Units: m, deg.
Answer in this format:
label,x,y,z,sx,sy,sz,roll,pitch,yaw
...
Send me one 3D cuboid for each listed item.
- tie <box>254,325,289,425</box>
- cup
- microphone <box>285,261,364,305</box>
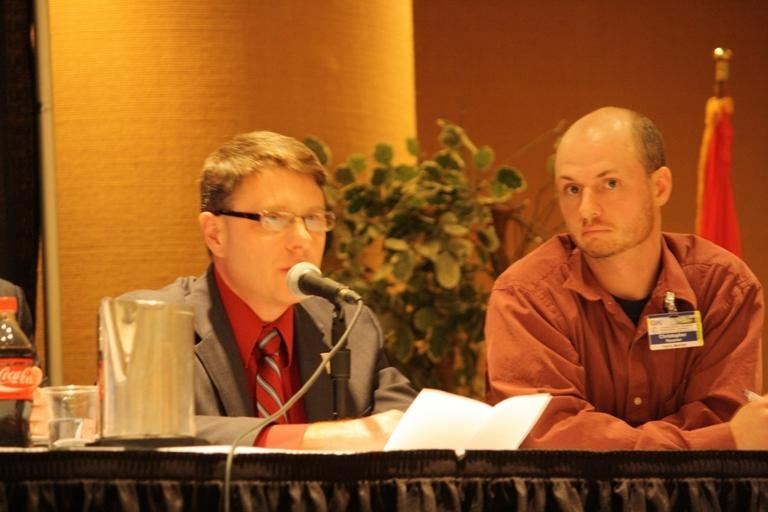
label,x,y,z,sx,sy,sz,roll,pitch,yaw
tie,-0.462,0.467,3.484,0.130,0.356,0.150,-2,-6,-8
cup,-1.049,0.541,2.901,0.224,0.216,0.228,-2,-14,0
microphone,-0.205,0.106,2.963,0.327,0.111,0.104,18,-33,46
